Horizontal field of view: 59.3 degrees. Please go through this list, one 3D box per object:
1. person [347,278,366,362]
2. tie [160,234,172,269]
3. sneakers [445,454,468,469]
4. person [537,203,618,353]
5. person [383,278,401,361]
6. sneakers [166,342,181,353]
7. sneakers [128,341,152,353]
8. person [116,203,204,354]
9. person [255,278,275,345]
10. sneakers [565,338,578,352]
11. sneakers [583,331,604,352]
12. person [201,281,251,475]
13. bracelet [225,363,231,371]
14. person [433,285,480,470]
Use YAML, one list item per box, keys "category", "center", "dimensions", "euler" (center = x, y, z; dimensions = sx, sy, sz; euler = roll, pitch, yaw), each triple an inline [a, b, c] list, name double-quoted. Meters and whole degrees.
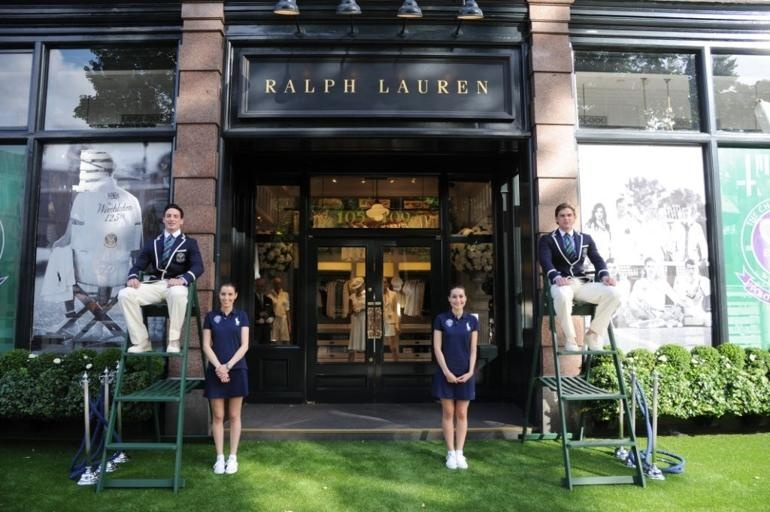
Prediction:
- category: "person"
  center: [-0.479, 1.069, 11.623]
  dimensions: [0.304, 1.353, 0.488]
  euler: [-1, 14, -3]
- category: "tie"
  center: [-2.964, -0.053, 9.225]
  dimensions: [0.111, 0.481, 0.128]
  euler: [12, -15, -3]
- category: "sneakers"
  center: [0.970, 2.711, 8.972]
  dimensions: [0.316, 0.181, 0.223]
  euler: [-2, 14, -8]
- category: "person"
  center: [2.611, 0.302, 9.369]
  dimensions: [0.868, 1.981, 0.980]
  euler: [-3, 15, -12]
- category: "person"
  center: [0.130, 1.086, 11.634]
  dimensions: [0.300, 1.314, 0.451]
  euler: [0, 14, 1]
- category: "sneakers"
  center: [-2.777, 1.209, 8.888]
  dimensions: [0.163, 0.139, 0.234]
  euler: [-2, 14, -10]
- category: "sneakers"
  center: [-3.221, 1.215, 8.962]
  dimensions: [0.134, 0.129, 0.308]
  euler: [-4, -12, 27]
- category: "person"
  center: [-2.995, 0.287, 9.071]
  dimensions: [1.091, 1.854, 0.949]
  euler: [-6, 15, -21]
- category: "person"
  center: [-2.063, 0.930, 11.614]
  dimensions: [0.323, 1.062, 0.402]
  euler: [-2, 14, -7]
- category: "sneakers"
  center: [2.537, 1.220, 9.164]
  dimensions: [0.125, 0.152, 0.226]
  euler: [0, -15, -3]
- category: "sneakers"
  center: [2.922, 1.196, 9.399]
  dimensions: [0.153, 0.182, 0.443]
  euler: [4, -9, -5]
- category: "person"
  center: [-2.049, 1.738, 8.905]
  dimensions: [0.588, 2.107, 0.832]
  euler: [-3, 15, -13]
- category: "bracelet"
  center: [-2.025, 1.442, 8.761]
  dimensions: [0.084, 0.081, 0.037]
  euler: [6, -14, -21]
- category: "person"
  center: [0.943, 1.616, 9.019]
  dimensions: [0.585, 2.345, 0.846]
  euler: [1, 14, 5]
